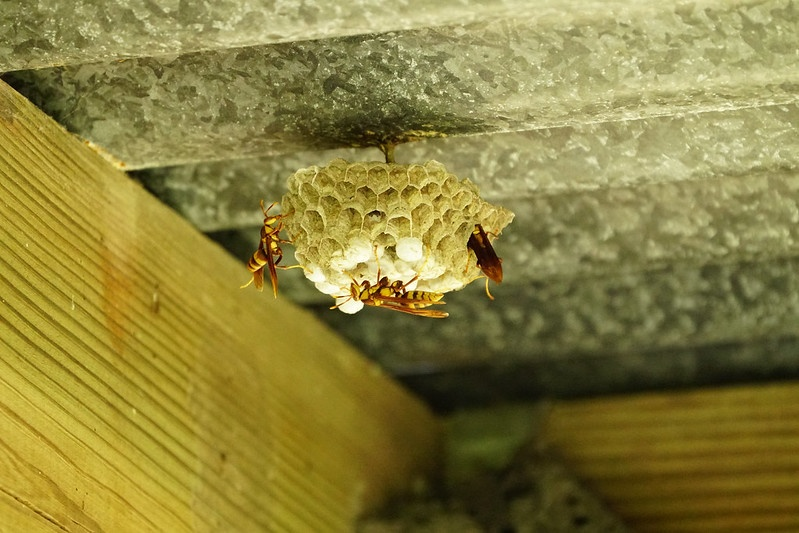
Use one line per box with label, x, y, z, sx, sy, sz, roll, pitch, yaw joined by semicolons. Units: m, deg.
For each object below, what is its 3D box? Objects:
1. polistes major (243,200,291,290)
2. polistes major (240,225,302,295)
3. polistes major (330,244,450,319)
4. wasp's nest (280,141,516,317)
polistes major;-0.512;-0.102;3.845;0.120;0.339;0.296;8;11;-33
polistes major;-0.467;-0.042;3.552;0.096;0.284;0.264;20;82;-11
polistes major;-0.032;0.046;3.474;0.375;0.240;0.096;5;51;-5
wasp's nest;-0.138;-0.180;3.476;0.651;0.570;0.338;-22;39;-27
